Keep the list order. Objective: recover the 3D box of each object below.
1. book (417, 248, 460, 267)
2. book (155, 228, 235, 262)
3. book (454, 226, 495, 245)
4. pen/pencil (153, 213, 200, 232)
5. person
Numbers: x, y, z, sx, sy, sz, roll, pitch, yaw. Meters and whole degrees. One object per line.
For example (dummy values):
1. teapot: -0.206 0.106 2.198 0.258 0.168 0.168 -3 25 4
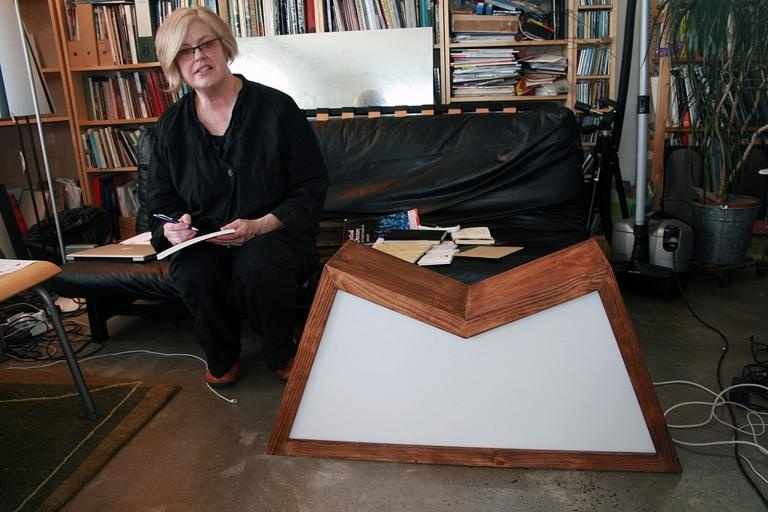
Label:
1. book: 0.248 0.004 2.419 0.145 0.030 0.195 5 21 21
2. book: -0.780 -0.055 2.230 0.309 0.140 0.241 -9 21 -17
3. book: 0.435 -0.109 2.650 0.202 0.039 0.229 -2 20 1
4. pen/pencil: -0.908 -0.147 2.292 0.173 0.018 0.027 24 18 20
5. person: -0.703 -0.261 2.344 0.719 1.579 0.628 6 23 23
